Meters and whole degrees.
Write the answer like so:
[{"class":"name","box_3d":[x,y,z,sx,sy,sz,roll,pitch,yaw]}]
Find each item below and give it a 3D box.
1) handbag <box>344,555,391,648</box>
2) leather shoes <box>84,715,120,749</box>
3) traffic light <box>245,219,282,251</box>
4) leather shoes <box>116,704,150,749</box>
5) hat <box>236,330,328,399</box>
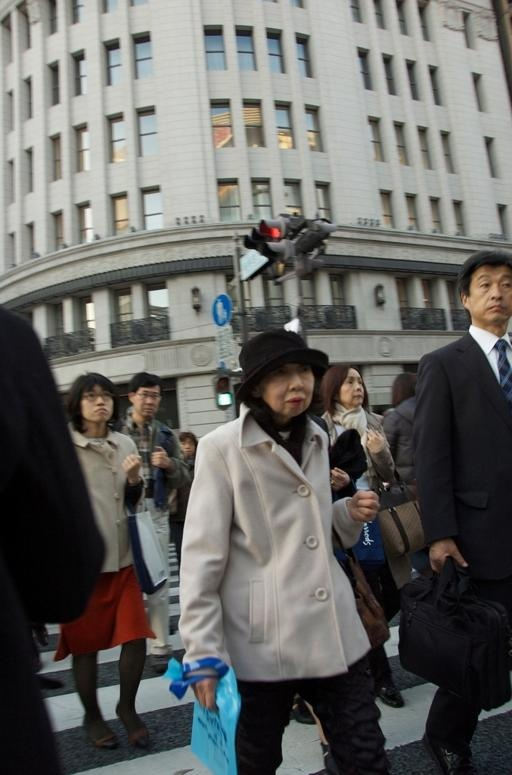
[{"class":"handbag","box_3d":[0.514,0.986,2.736,0.144,0.506,0.661,-6,-10,10]},{"class":"leather shoes","box_3d":[-0.799,1.805,3.186,0.083,0.115,0.255,0,-19,-34]},{"class":"traffic light","box_3d":[0.115,-2.587,10.374,0.448,0.281,0.663,-7,5,-8]},{"class":"leather shoes","box_3d":[-0.629,1.768,3.158,0.092,0.073,0.299,-8,14,-19]},{"class":"hat","box_3d":[0.077,-0.089,2.120,0.284,0.157,0.236,-22,-14,0]}]
